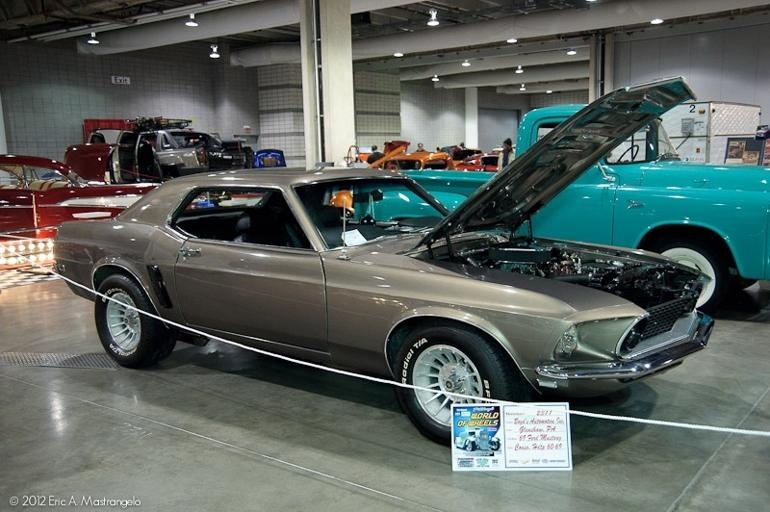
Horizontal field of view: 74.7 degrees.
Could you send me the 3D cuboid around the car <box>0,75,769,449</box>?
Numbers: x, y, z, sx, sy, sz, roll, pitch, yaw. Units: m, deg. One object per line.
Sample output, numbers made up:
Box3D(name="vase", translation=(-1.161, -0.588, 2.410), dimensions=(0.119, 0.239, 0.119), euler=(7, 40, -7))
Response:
Box3D(name="car", translation=(0.376, -0.003, 4.685), dimensions=(6.799, 1.869, 2.773), euler=(3, 8, 23))
